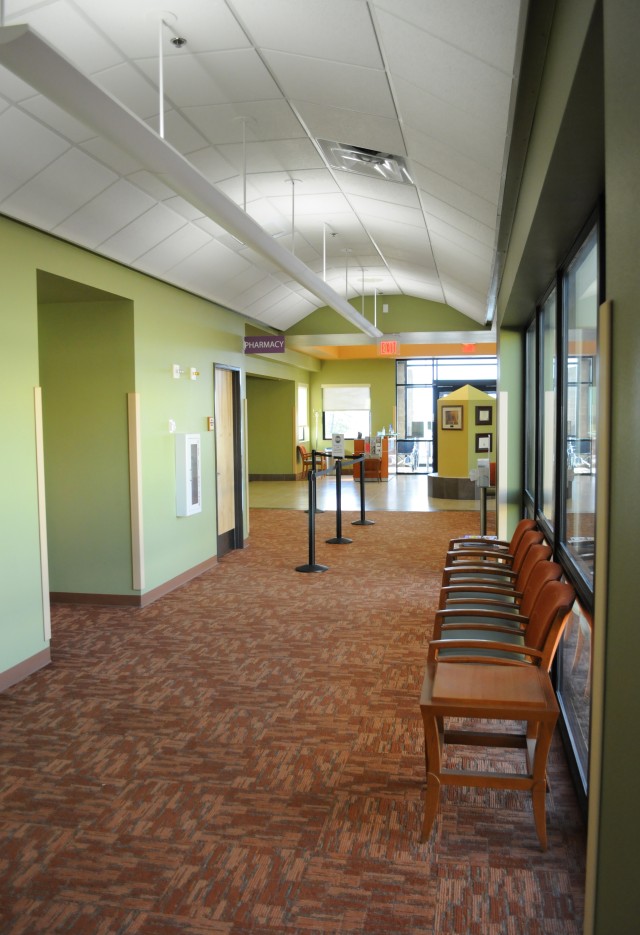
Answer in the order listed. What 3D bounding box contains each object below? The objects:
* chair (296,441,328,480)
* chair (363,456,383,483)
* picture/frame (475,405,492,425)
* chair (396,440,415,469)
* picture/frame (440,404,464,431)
[{"bbox_3d":[-0.098,-0.263,18.097,0.910,1.455,0.927,1,5,12],"label":"chair"},{"bbox_3d":[1.440,0.022,16.254,0.515,0.620,0.307,-9,-5,4],"label":"chair"},{"bbox_3d":[3.590,-1.191,13.523,0.345,0.415,0.029,2,12,-8],"label":"picture/frame"},{"bbox_3d":[2.794,-0.459,20.037,0.590,1.295,0.646,5,13,23],"label":"chair"},{"bbox_3d":[2.968,-1.132,13.639,0.508,0.658,0.058,0,-1,25],"label":"picture/frame"}]
